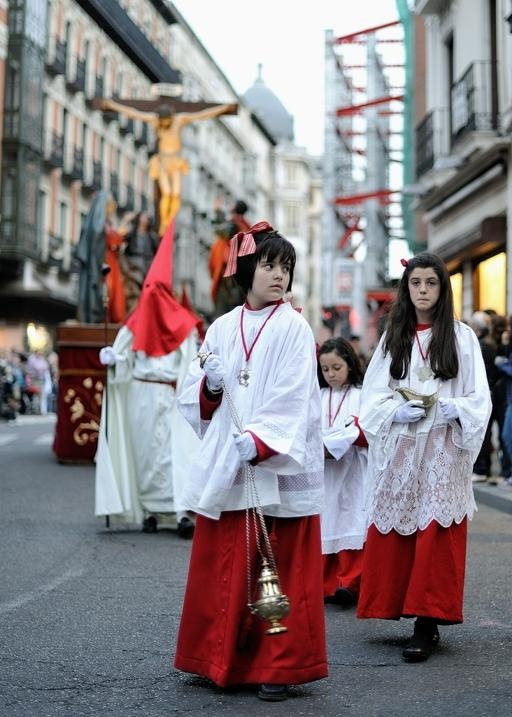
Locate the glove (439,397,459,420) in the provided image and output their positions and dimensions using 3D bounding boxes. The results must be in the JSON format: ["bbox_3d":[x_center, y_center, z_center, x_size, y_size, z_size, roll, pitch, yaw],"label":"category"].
[{"bbox_3d":[0.818,0.224,5.345,0.086,0.101,0.152,2,3,8],"label":"glove"}]

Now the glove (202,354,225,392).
[{"bbox_3d":[-0.159,0.057,4.771,0.051,0.128,0.095,-9,-4,2],"label":"glove"}]

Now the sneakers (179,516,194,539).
[{"bbox_3d":[-0.446,1.096,8.092,0.087,0.100,0.235,1,2,-5],"label":"sneakers"}]

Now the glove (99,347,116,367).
[{"bbox_3d":[-0.986,-0.010,8.351,0.095,0.126,0.051,1,0,-12],"label":"glove"}]

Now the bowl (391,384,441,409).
[{"bbox_3d":[0.683,0.169,5.457,0.154,0.064,0.069,10,1,38],"label":"bowl"}]

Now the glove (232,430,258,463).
[{"bbox_3d":[-0.051,0.320,4.572,0.073,0.116,0.203,1,3,-11],"label":"glove"}]

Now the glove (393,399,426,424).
[{"bbox_3d":[0.659,0.236,5.423,0.131,0.106,0.098,3,3,22],"label":"glove"}]
